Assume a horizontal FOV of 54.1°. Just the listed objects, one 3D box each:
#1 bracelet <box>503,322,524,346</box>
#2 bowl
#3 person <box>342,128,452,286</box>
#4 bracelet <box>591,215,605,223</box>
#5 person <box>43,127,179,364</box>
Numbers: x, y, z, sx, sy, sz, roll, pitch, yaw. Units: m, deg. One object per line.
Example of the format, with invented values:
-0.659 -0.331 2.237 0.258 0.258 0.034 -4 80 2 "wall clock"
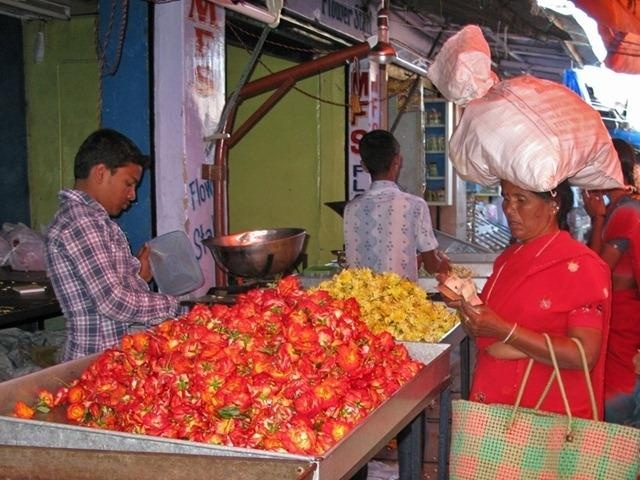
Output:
0.772 0.383 2.527 0.018 0.068 0.071 34 8 13 "bracelet"
-0.323 0.082 3.575 0.517 0.249 0.548 -2 10 0 "bowl"
0.458 -0.225 4.081 0.634 0.942 0.256 4 14 11 "person"
1.927 -0.145 4.372 0.054 0.059 0.056 1 2 -14 "bracelet"
-1.031 0.039 3.081 0.540 1.112 0.508 -10 18 -38 "person"
